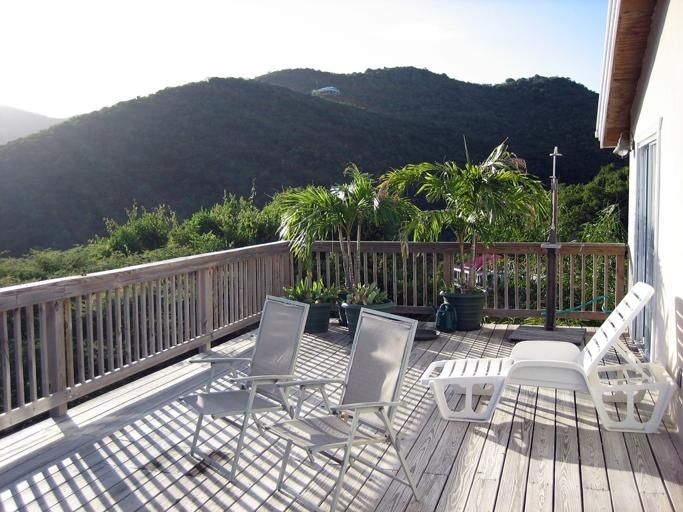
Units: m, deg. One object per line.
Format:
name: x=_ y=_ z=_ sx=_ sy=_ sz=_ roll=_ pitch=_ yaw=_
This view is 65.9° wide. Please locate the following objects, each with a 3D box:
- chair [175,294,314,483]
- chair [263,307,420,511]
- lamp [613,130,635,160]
chair: x=-0.806 y=0.892 z=4.304 sx=0.977 sy=1.680 sz=1.058 roll=6 pitch=4 yaw=44
chair: x=-0.084 y=0.989 z=4.039 sx=1.077 sy=1.764 sz=0.991 roll=-1 pitch=4 yaw=-34
lamp: x=3.689 y=-1.480 z=6.894 sx=0.202 sy=0.357 sz=0.943 roll=8 pitch=9 yaw=28
